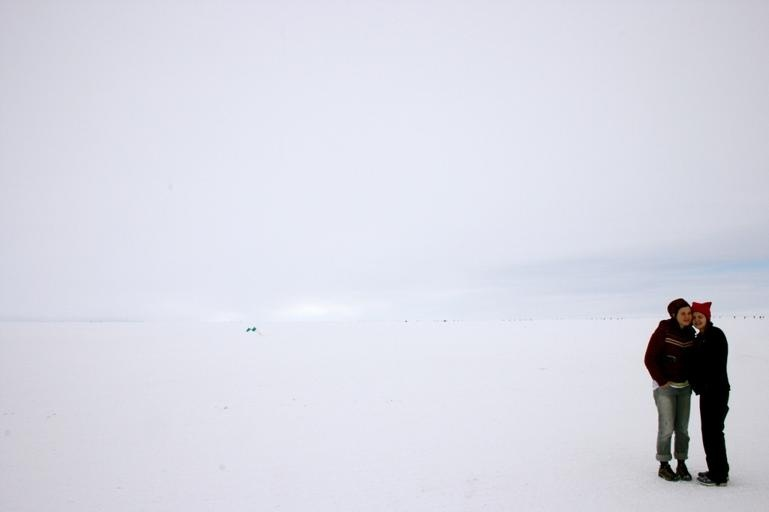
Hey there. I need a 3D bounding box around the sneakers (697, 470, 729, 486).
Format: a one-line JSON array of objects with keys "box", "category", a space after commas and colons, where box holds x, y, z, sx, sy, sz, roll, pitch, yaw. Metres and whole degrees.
[{"box": [5.261, 3.587, 13.199, 0.533, 0.244, 0.204, -5, 1, 16], "category": "sneakers"}]

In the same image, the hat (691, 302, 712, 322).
[{"box": [5.235, 0.871, 13.340, 0.334, 0.249, 0.271, 12, -39, -10], "category": "hat"}]

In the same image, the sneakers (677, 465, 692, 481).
[{"box": [4.890, 3.542, 13.392, 0.162, 0.246, 0.269, -25, -47, 31], "category": "sneakers"}]
